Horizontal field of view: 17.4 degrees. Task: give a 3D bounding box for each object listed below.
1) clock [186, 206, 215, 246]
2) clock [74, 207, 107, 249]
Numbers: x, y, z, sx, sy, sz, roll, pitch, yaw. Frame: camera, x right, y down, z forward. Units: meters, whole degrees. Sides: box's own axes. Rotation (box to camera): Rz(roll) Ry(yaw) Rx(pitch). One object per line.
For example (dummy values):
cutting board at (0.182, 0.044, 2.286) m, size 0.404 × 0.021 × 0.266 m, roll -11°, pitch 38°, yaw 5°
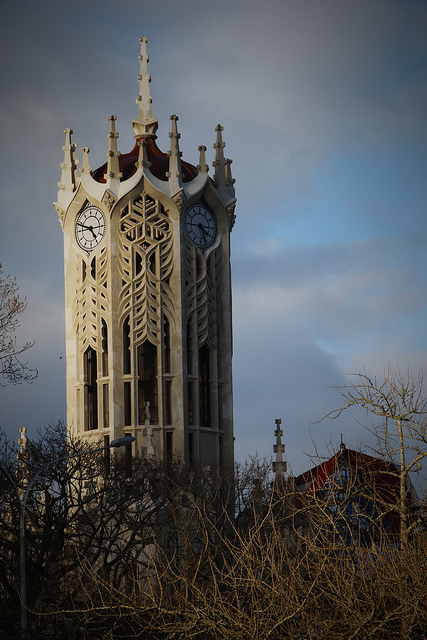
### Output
clock at (-0.573, -3.966, 58.960) m, size 1.872 × 1.929 × 0.094 m, roll 13°, pitch 21°, yaw 41°
clock at (-5.188, -3.811, 58.135) m, size 0.641 × 1.552 × 2.065 m, roll -15°, pitch 4°, yaw -34°
